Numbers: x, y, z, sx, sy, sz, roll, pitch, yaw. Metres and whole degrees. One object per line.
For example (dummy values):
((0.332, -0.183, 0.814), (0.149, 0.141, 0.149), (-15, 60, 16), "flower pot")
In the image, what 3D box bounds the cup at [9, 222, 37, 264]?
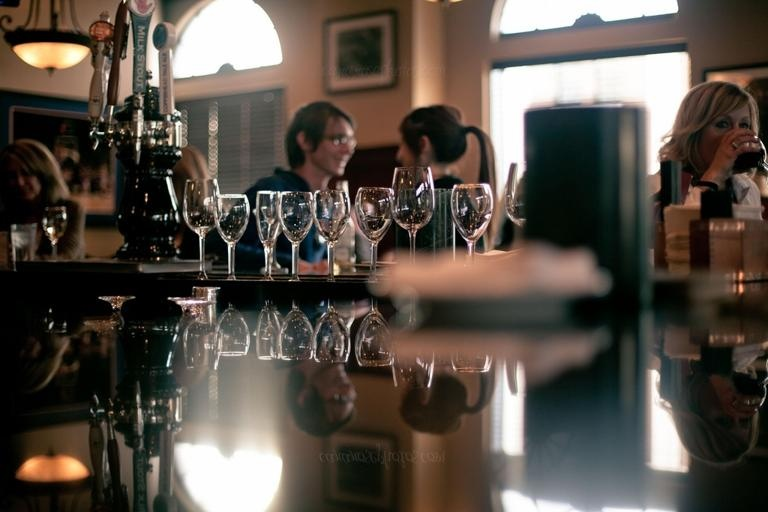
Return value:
((-0.816, -0.021, 1.774), (0.052, 0.101, 0.323), (-5, 13, -23), "cup")
